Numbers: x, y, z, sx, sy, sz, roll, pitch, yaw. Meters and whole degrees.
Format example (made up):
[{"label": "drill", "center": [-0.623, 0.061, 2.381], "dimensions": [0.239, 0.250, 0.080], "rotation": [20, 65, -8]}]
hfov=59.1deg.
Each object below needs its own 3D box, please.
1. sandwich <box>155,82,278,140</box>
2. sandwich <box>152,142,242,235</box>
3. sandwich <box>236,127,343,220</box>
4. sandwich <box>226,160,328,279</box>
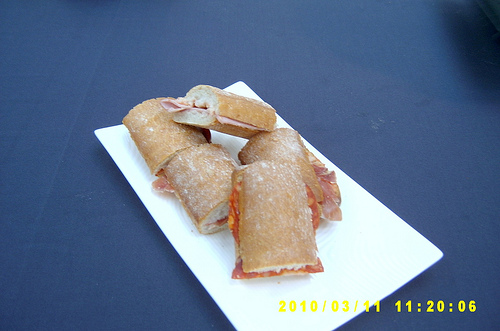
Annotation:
[{"label": "sandwich", "center": [-0.112, -0.262, 2.094], "dimensions": [0.353, 0.507, 0.202], "rotation": [15, 95, 43]}, {"label": "sandwich", "center": [-0.195, 0.056, 1.947], "dimensions": [0.329, 0.141, 0.400], "rotation": [-21, 57, -36]}, {"label": "sandwich", "center": [0.180, 0.091, 2.004], "dimensions": [0.325, 0.163, 0.460], "rotation": [-5, 55, -33]}, {"label": "sandwich", "center": [0.106, 0.218, 1.809], "dimensions": [0.388, 0.140, 0.472], "rotation": [-5, 72, -6]}]
